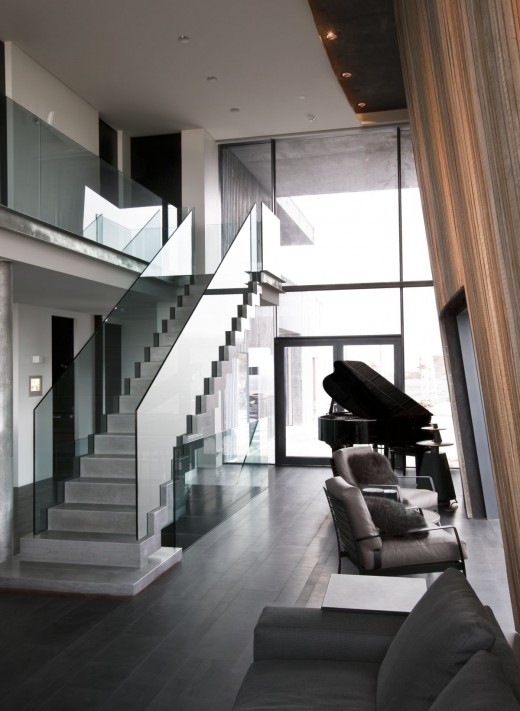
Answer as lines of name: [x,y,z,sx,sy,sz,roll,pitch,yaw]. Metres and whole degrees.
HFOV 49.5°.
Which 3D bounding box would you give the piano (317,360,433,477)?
piano: [1.505,0.801,7.827,1.537,1.684,1.180,-2,-1,7]
